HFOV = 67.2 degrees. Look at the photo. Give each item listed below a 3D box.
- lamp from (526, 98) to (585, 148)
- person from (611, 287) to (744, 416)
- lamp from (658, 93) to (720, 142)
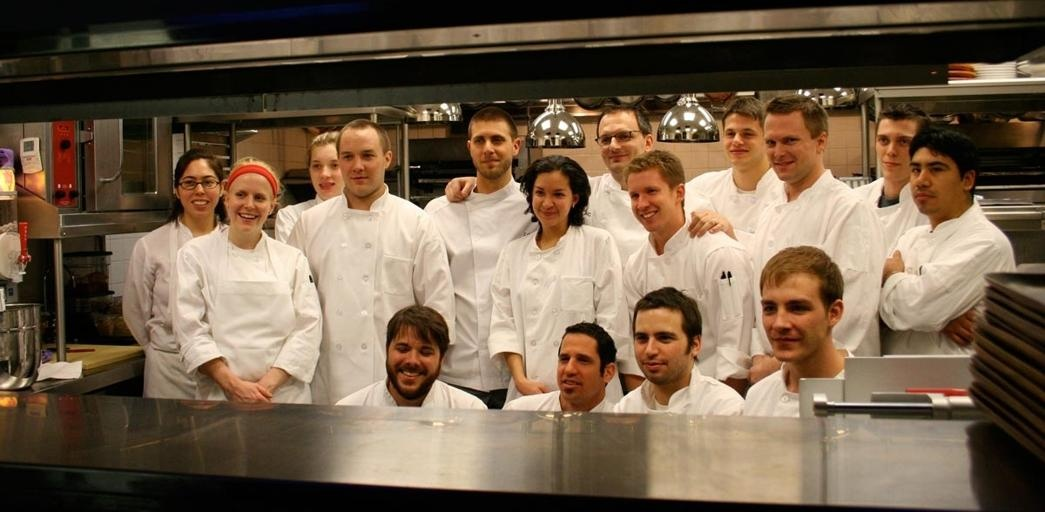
[{"bbox_3d":[0.209,-0.907,5.082,0.427,0.325,0.397,8,18,27],"label":"lamp"},{"bbox_3d":[0.722,0.502,3.610,0.803,0.585,0.492,-9,-21,41],"label":"person"},{"bbox_3d":[1.054,-0.873,5.144,0.396,0.335,0.376,-5,6,-43],"label":"lamp"}]
